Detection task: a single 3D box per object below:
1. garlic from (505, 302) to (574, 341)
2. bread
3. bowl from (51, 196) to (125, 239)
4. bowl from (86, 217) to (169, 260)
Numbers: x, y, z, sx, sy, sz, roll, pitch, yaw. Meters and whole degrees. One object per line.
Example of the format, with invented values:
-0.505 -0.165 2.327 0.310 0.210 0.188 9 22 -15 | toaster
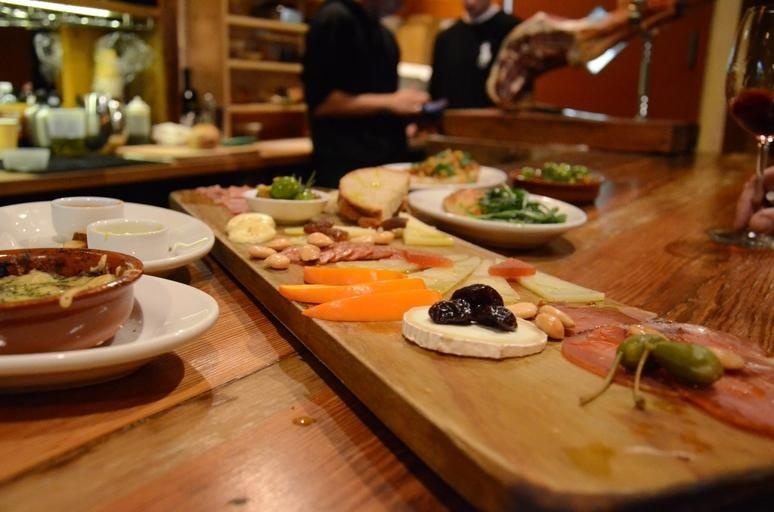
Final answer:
0.307 0.124 1.115 0.137 0.032 0.074 13 14 -4 | garlic
-0.042 -0.187 1.774 0.182 0.178 0.239 -3 9 -26 | bread
-0.788 -0.101 1.458 0.142 0.083 0.140 1 7 0 | bowl
-0.612 -0.039 1.299 0.129 0.074 0.129 3 15 -1 | bowl
